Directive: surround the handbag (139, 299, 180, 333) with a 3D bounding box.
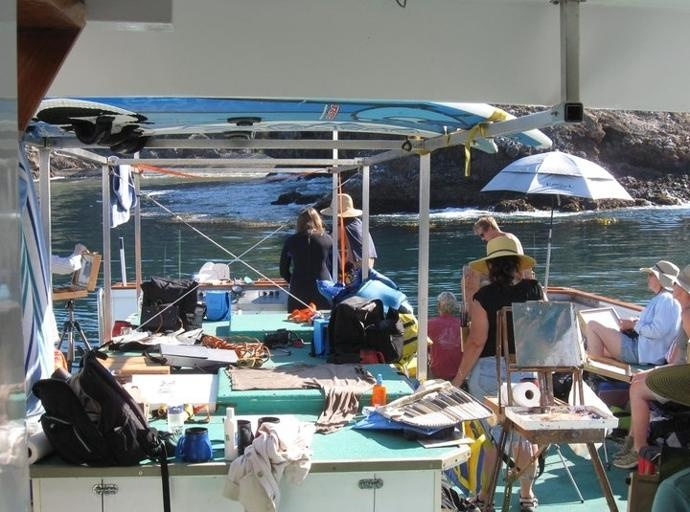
[{"bbox_3d":[-1.637,0.545,10.410,0.277,0.217,0.099,1,-27,1],"label":"handbag"}]

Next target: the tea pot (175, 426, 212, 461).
[{"bbox_3d":[-1.042,1.313,8.122,0.277,0.181,0.174,0,1,-18],"label":"tea pot"}]

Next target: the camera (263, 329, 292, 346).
[{"bbox_3d":[-0.582,0.720,10.111,0.182,0.120,0.137,-4,2,-31],"label":"camera"}]

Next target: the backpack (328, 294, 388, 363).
[{"bbox_3d":[0.070,0.587,9.605,0.540,0.498,0.468,-1,2,-20],"label":"backpack"}]

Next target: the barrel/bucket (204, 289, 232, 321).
[{"bbox_3d":[-1.209,0.482,11.147,0.287,0.274,0.227,1,2,1],"label":"barrel/bucket"}]

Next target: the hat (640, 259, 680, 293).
[{"bbox_3d":[2.987,0.165,10.982,0.320,0.116,0.287,30,2,15],"label":"hat"}]

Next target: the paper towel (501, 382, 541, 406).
[{"bbox_3d":[1.315,1.027,8.676,0.180,0.168,0.264,21,-4,-16],"label":"paper towel"}]

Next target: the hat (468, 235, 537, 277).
[{"bbox_3d":[1.308,-0.054,9.686,0.372,0.168,0.407,-2,-25,2],"label":"hat"}]

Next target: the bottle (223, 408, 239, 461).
[{"bbox_3d":[-0.791,1.237,8.136,0.098,0.367,0.073,-2,-3,-5],"label":"bottle"}]
